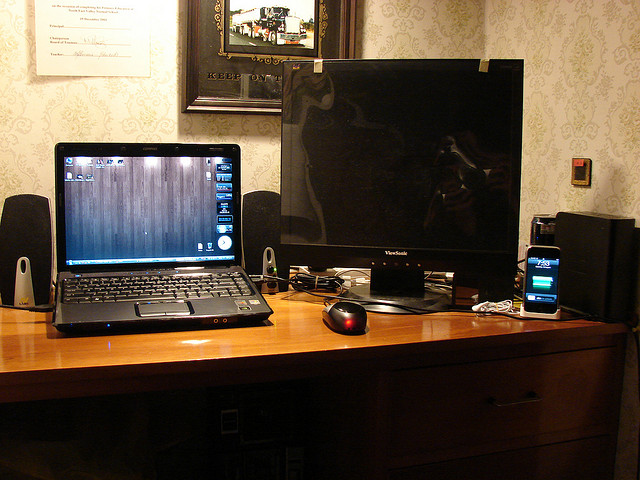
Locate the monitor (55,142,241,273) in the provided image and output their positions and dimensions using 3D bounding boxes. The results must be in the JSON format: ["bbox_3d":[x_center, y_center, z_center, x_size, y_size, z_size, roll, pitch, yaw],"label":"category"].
[{"bbox_3d":[-0.467,-0.083,1.475,0.527,0.359,0.038,0,0,3],"label":"monitor"}]

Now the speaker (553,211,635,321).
[{"bbox_3d":[0.732,0.073,1.421,0.100,0.293,0.267,-4,8,-21],"label":"speaker"}]

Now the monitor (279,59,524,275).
[{"bbox_3d":[0.240,-0.214,1.472,0.619,0.526,0.045,1,4,-1],"label":"monitor"}]

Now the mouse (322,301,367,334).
[{"bbox_3d":[0.059,0.177,1.347,0.104,0.057,0.170,-4,8,-14],"label":"mouse"}]

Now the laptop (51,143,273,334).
[{"bbox_3d":[-0.420,0.045,1.490,0.616,0.466,0.495,-2,13,-13],"label":"laptop"}]

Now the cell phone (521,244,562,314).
[{"bbox_3d":[0.577,0.099,1.400,0.087,0.167,0.077,2,10,22],"label":"cell phone"}]
